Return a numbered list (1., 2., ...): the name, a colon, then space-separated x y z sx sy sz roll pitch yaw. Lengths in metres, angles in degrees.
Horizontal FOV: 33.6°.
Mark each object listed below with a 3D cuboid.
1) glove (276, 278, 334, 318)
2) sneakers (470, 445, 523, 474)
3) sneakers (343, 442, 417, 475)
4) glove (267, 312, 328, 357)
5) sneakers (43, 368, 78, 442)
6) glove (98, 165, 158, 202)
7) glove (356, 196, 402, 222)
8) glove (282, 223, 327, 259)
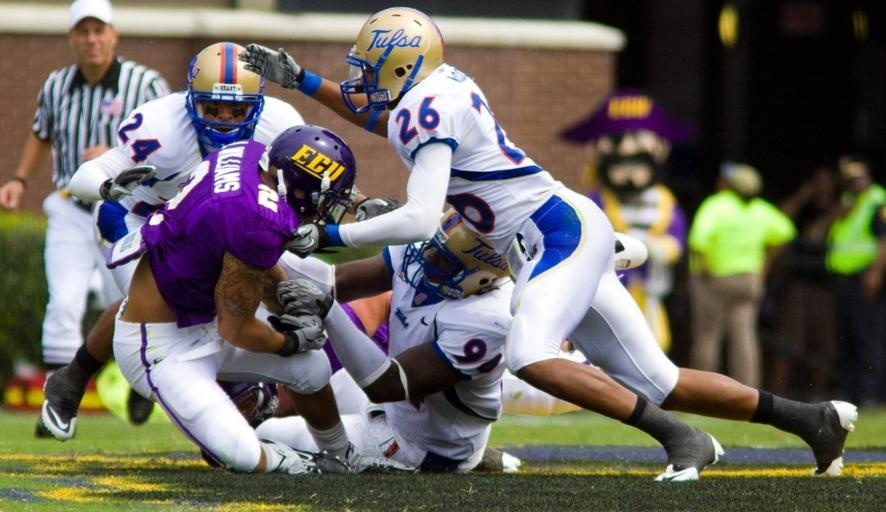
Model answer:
1. glove: -0.914 0.234 9.685 0.254 0.146 0.297 14 1 -36
2. sneakers: 0.384 1.409 10.094 0.262 0.106 0.163 8 3 -8
3. sneakers: -0.460 1.396 9.883 0.562 0.246 0.184 0 14 -6
4. glove: -0.966 0.511 9.670 0.386 0.274 0.228 2 10 -7
5. sneakers: -2.618 1.055 10.030 0.193 0.548 0.248 13 -42 -45
6. glove: -2.130 -0.526 9.913 0.493 0.167 0.154 -23 -46 28
7. glove: -0.461 -0.351 10.058 0.248 0.133 0.177 -11 8 -9
8. glove: -0.906 -0.118 9.507 0.237 0.221 0.178 5 7 3
